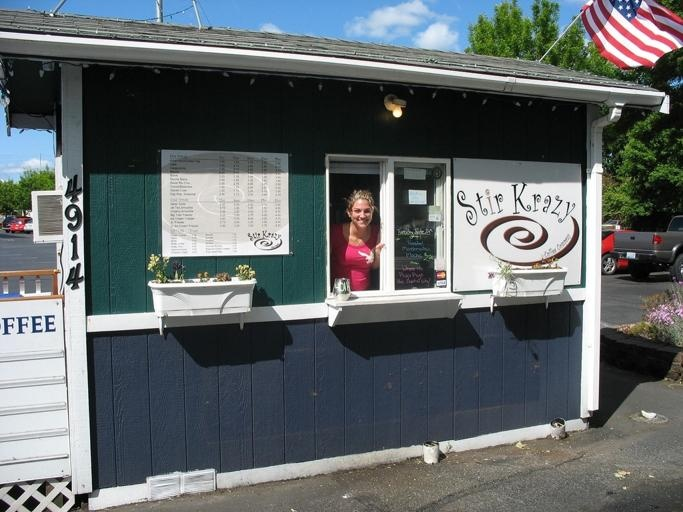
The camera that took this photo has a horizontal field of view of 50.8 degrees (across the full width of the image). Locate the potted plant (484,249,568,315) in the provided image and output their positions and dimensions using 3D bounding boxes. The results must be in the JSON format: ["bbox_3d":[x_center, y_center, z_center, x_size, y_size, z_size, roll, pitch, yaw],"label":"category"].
[{"bbox_3d":[2.023,0.227,7.779,0.847,0.386,0.309,-3,8,-17],"label":"potted plant"}]

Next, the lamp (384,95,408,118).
[{"bbox_3d":[0.558,-1.537,7.394,0.248,0.250,0.126,-2,7,-8],"label":"lamp"}]

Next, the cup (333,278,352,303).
[{"bbox_3d":[0.020,0.324,7.190,0.181,0.255,0.187,1,-5,0],"label":"cup"}]

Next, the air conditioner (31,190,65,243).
[{"bbox_3d":[-2.752,-0.363,6.721,0.277,0.492,0.256,-4,8,-24],"label":"air conditioner"}]

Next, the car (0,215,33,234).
[{"bbox_3d":[-20.284,-1.907,44.739,2.299,0.828,1.083,11,11,43],"label":"car"}]

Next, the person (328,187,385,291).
[{"bbox_3d":[0.146,-0.156,7.486,0.567,1.040,0.132,-4,7,-23],"label":"person"}]
